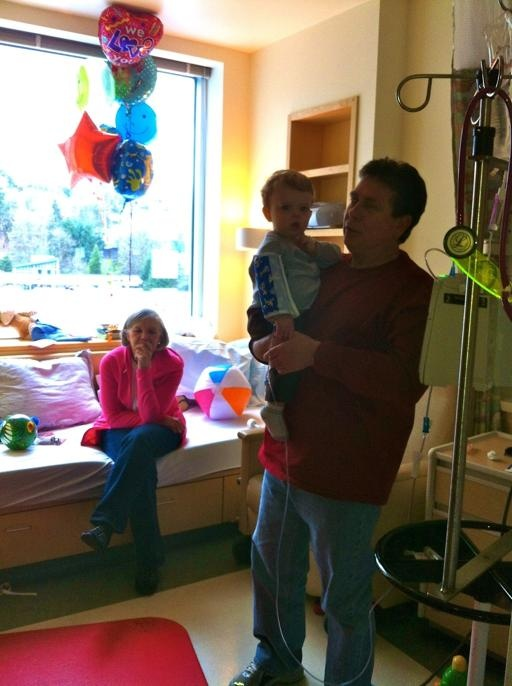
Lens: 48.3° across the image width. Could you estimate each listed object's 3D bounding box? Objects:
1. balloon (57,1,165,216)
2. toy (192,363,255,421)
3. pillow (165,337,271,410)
[{"bbox_3d":[-0.795,-1.337,3.172,0.521,1.028,0.353,0,7,-16],"label":"balloon"},{"bbox_3d":[-0.167,0.258,2.950,0.291,0.237,0.277,6,-12,-29],"label":"toy"},{"bbox_3d":[-0.216,0.093,3.227,0.381,0.142,0.481,0,36,-14],"label":"pillow"}]
